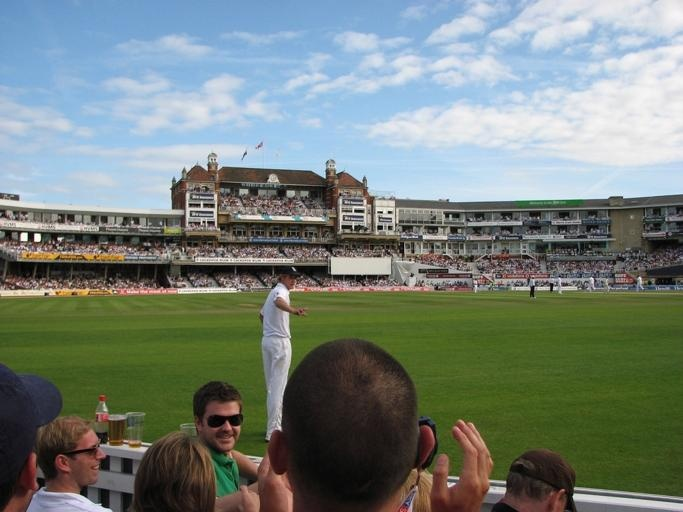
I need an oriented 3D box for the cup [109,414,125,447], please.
[{"bbox_3d":[-2.549,1.980,8.824,0.179,0.322,0.302,-1,1,-18],"label":"cup"}]
